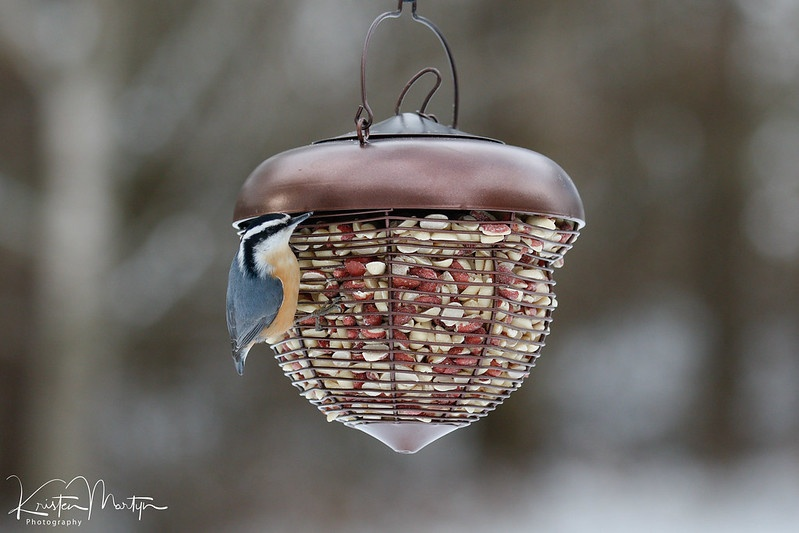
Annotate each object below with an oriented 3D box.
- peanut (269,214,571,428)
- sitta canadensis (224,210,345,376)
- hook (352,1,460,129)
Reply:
[{"bbox_3d":[0.090,0.161,5.341,0.788,0.524,0.781,3,-11,-18],"label":"peanut"},{"bbox_3d":[-0.403,0.083,5.446,0.271,0.544,0.308,-6,15,-24],"label":"sitta canadensis"},{"bbox_3d":[-0.051,-0.767,5.589,0.283,0.686,0.305,6,12,43],"label":"hook"}]
